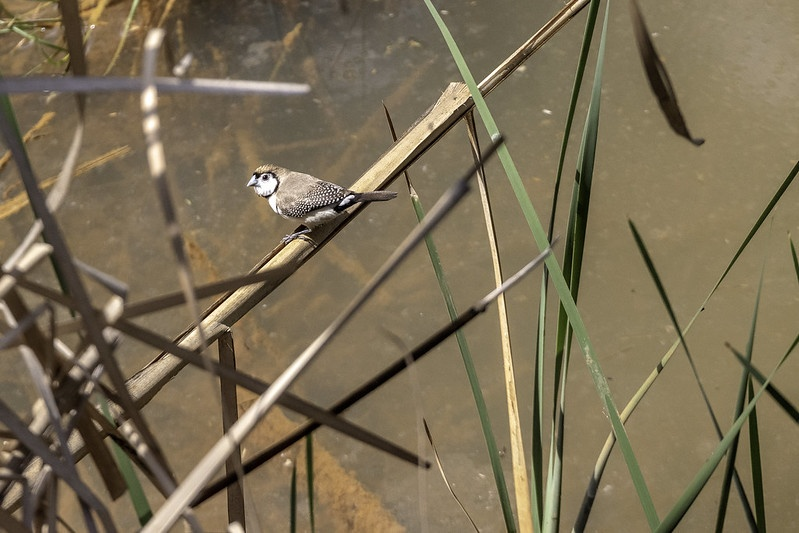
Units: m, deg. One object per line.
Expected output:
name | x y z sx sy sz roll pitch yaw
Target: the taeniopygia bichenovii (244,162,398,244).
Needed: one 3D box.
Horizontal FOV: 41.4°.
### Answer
taeniopygia bichenovii | -0.332 -0.305 4.591 0.709 0.316 0.236 -5 10 31
